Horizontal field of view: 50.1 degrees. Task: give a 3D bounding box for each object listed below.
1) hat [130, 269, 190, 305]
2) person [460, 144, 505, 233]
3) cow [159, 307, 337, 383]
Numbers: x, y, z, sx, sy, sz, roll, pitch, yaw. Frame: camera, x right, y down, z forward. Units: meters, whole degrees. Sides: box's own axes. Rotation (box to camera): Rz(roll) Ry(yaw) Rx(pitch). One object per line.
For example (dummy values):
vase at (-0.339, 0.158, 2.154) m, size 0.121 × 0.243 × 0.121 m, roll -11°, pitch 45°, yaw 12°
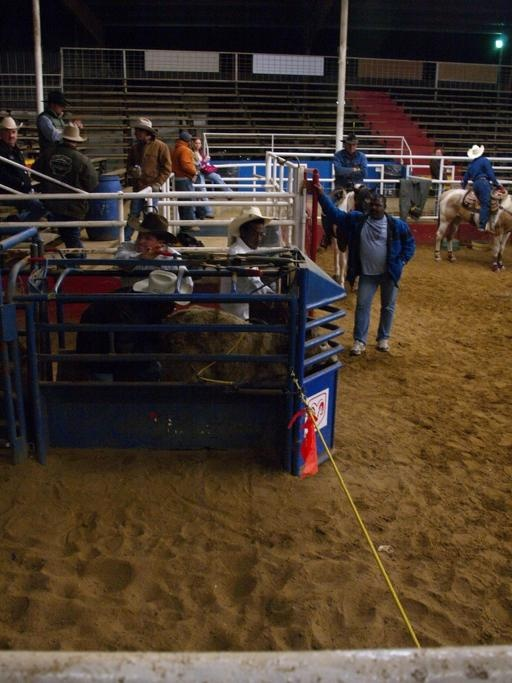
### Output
hat at (-0.665, -0.413, 3.816) m, size 0.373 × 0.126 × 0.317 m, roll 6°, pitch 31°, yaw -7°
person at (4.691, -3.250, 11.476) m, size 0.707 × 1.764 × 0.839 m, roll 3°, pitch 11°, yaw 5°
cow at (-0.227, 0.027, 3.569) m, size 0.783 × 0.431 × 0.713 m, roll 0°, pitch 11°, yaw -10°
